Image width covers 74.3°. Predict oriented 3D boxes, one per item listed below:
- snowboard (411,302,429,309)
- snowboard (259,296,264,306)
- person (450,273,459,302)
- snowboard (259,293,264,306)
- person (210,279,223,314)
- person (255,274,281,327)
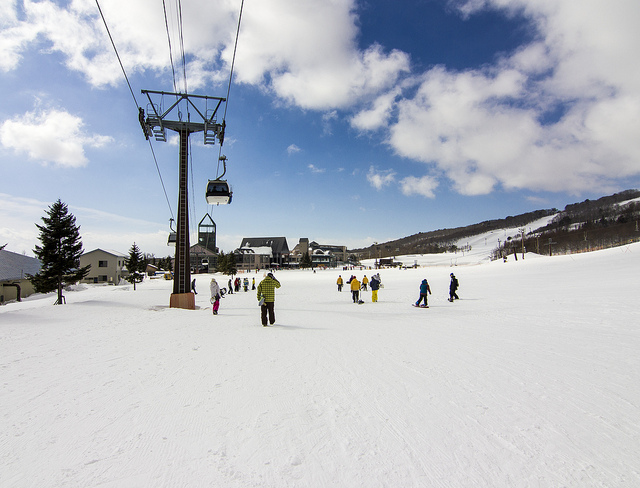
[{"bbox_3d":[5.428,3.361,22.979,0.635,0.386,0.202,1,19,37],"label":"snowboard"},{"bbox_3d":[-2.351,2.320,16.916,0.095,0.416,0.131,41,-42,-22],"label":"snowboard"},{"bbox_3d":[7.929,2.520,24.981,0.504,1.577,2.476,-1,-1,17],"label":"person"},{"bbox_3d":[-2.347,2.227,16.903,0.120,0.481,0.172,11,3,-9],"label":"snowboard"},{"bbox_3d":[-5.257,2.636,21.338,0.429,1.185,1.985,0,-2,-14],"label":"person"},{"bbox_3d":[-2.150,2.284,17.684,0.861,1.611,2.447,0,-2,-6],"label":"person"}]
